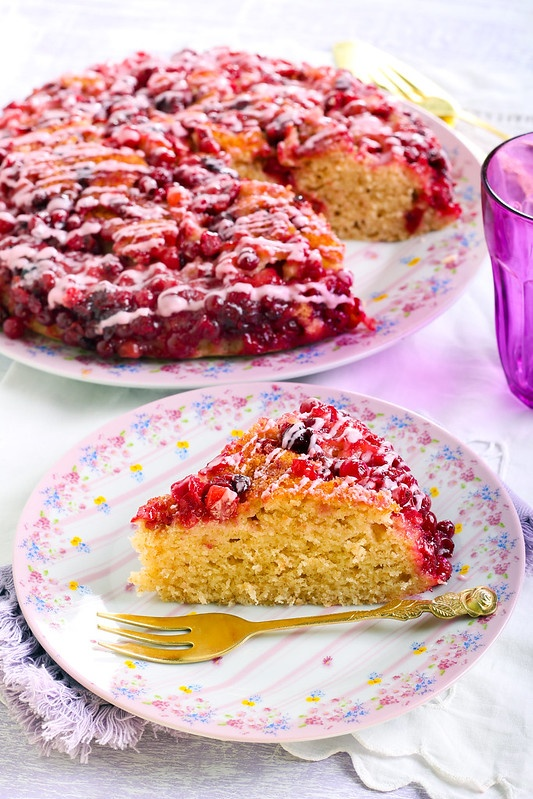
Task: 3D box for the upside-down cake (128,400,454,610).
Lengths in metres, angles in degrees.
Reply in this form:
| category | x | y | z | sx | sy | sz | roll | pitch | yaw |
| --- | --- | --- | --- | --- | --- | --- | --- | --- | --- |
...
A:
| category | x | y | z | sx | sy | sz | roll | pitch | yaw |
| --- | --- | --- | --- | --- | --- | --- | --- | --- | --- |
| upside-down cake | 0.054 | 0.231 | 1.576 | 0.440 | 0.215 | 0.474 | -15 | 22 | -25 |

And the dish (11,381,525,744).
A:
| category | x | y | z | sx | sy | sz | roll | pitch | yaw |
| --- | --- | --- | --- | --- | --- | --- | --- | --- | --- |
| dish | -0.108 | 0.341 | 1.505 | 0.710 | 0.086 | 0.638 | -1 | 34 | -1 |

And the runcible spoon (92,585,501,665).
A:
| category | x | y | z | sx | sy | sz | roll | pitch | yaw |
| --- | --- | --- | --- | --- | --- | --- | --- | --- | --- |
| runcible spoon | 0.055 | 0.393 | 1.367 | 0.715 | 0.067 | 0.104 | -4 | 33 | -3 |
